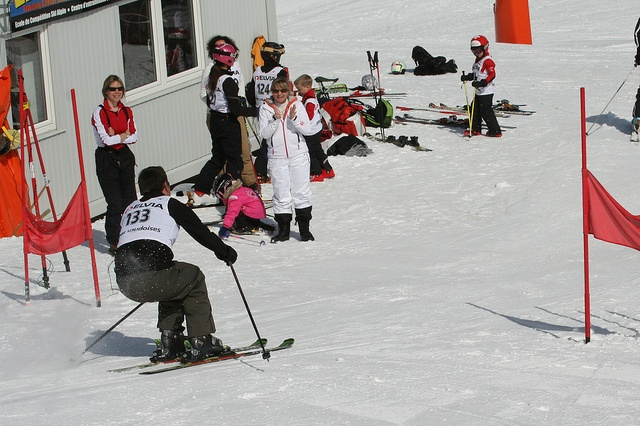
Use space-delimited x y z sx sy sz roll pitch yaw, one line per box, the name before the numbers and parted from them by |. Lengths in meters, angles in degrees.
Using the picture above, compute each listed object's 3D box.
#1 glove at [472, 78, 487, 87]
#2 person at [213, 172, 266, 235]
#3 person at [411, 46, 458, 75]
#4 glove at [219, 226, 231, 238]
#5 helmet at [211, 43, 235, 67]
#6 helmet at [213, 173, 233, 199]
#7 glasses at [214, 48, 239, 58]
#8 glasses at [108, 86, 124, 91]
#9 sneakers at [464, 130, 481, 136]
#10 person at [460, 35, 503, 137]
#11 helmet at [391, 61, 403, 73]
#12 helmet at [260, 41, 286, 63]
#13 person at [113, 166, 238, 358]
glove | 3.250 -2.644 18.485 0.264 0.196 0.163 1 12 -15
person | -1.181 -0.200 14.568 1.141 0.830 1.528 5 20 -3
person | 3.105 -4.234 25.125 1.333 0.802 0.729 1 15 30
glove | -1.462 0.293 13.923 0.180 0.152 0.042 21 -14 27
helmet | -1.535 -2.491 14.205 0.420 0.291 0.293 -16 31 -22
helmet | -1.537 -0.447 14.576 0.318 0.329 0.262 -48 -2 39
glasses | -1.441 -2.503 14.149 0.335 0.068 0.214 6 12 7
glasses | -2.860 -1.758 12.807 0.201 0.061 0.086 -14 14 -36
sneakers | 3.199 -1.679 18.955 0.502 0.130 0.106 -1 -3 -28
person | 3.298 -2.594 18.662 0.724 2.084 0.871 -6 14 9
helmet | 2.156 -4.078 25.275 0.322 0.301 0.320 7 10 22
helmet | -0.795 -2.731 15.385 0.458 0.273 0.340 -6 20 -24
person | -1.666 0.600 10.218 1.231 2.169 0.447 -9 14 -5
